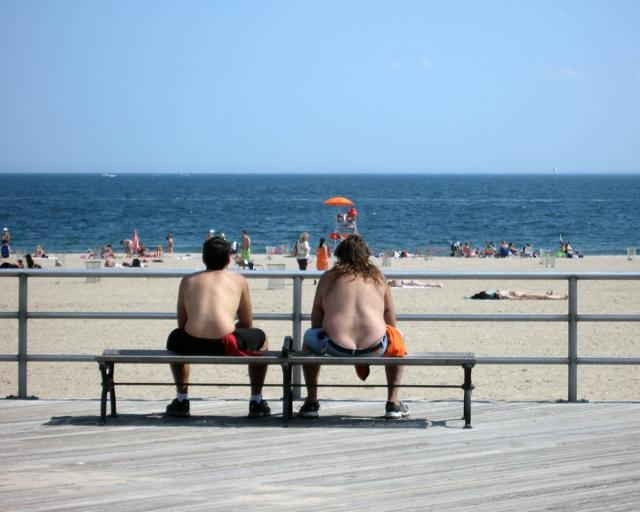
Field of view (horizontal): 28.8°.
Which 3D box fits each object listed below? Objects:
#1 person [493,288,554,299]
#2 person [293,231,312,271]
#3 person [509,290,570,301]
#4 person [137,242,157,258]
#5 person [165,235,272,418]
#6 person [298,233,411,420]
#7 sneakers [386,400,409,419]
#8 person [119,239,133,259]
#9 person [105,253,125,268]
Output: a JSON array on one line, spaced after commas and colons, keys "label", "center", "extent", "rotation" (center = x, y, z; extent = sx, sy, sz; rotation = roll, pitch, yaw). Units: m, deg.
[{"label": "person", "center": [4.438, 0.849, 27.170], "extent": [0.851, 0.235, 0.524], "rotation": [4, 1, 14]}, {"label": "person", "center": [-0.452, -0.075, 33.053], "extent": [0.423, 1.178, 0.392], "rotation": [11, 27, 18]}, {"label": "person", "center": [4.656, 0.859, 27.033], "extent": [0.805, 0.143, 0.580], "rotation": [1, 1, -2]}, {"label": "person", "center": [-6.811, -0.263, 48.995], "extent": [0.554, 0.412, 0.795], "rotation": [1, 4, -32]}, {"label": "person", "center": [-0.954, 0.657, 11.247], "extent": [1.129, 1.617, 1.084], "rotation": [0, -5, 20]}, {"label": "person", "center": [0.381, 0.647, 11.317], "extent": [1.156, 1.652, 1.267], "rotation": [1, -1, -30]}, {"label": "sneakers", "center": [0.675, 1.341, 10.975], "extent": [0.097, 0.123, 0.256], "rotation": [2, 5, 39]}, {"label": "person", "center": [-7.315, -0.282, 47.010], "extent": [0.663, 0.863, 0.284], "rotation": [-1, 13, 0]}, {"label": "person", "center": [-6.531, 0.126, 39.627], "extent": [0.307, 0.272, 0.799], "rotation": [6, 9, -2]}]
